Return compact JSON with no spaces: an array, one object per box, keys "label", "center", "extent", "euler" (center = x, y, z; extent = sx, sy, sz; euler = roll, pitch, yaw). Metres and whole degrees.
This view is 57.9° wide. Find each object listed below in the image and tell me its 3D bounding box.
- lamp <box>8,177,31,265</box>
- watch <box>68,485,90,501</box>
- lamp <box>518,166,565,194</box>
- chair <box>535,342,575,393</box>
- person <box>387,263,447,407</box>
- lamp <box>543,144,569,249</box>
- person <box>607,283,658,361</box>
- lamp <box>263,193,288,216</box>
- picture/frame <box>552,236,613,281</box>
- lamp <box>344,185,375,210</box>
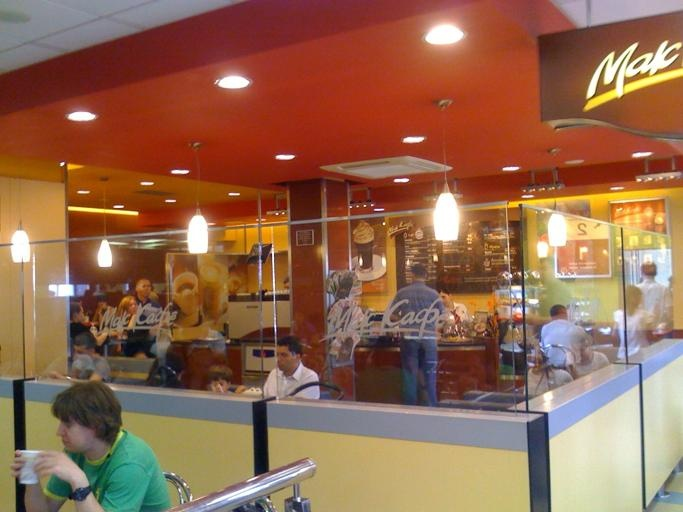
[{"label":"lamp","center":[-2.579,-0.164,5.006],"extent":[0.132,0.443,0.131],"euler":[0,-5,-30]},{"label":"watch","center":[-1.060,0.963,2.528],"extent":[0.051,0.043,0.070],"euler":[-9,-4,-19]},{"label":"lamp","center":[2.516,-0.891,7.650],"extent":[0.426,0.304,0.324],"euler":[-4,-12,39]},{"label":"chair","center":[1.201,0.592,3.454],"extent":[0.202,0.206,0.151],"euler":[-10,-2,7]},{"label":"person","center":[0.407,0.421,3.331],"extent":[0.290,0.755,0.097],"euler":[-4,-2,34]},{"label":"lamp","center":[1.187,-0.276,3.445],"extent":[0.104,0.441,0.106],"euler":[0,-4,20]},{"label":"person","center":[2.294,0.715,4.912],"extent":[0.303,0.924,0.298],"euler":[-2,8,24]},{"label":"lamp","center":[-1.009,-0.835,9.801],"extent":[0.391,0.395,0.283],"euler":[-5,-8,36]},{"label":"picture/frame","center":[1.479,0.010,3.811],"extent":[0.294,0.158,0.020],"euler":[-1,0,22]},{"label":"lamp","center":[0.298,-0.837,8.995],"extent":[0.494,0.364,0.288],"euler":[-2,-7,17]}]
